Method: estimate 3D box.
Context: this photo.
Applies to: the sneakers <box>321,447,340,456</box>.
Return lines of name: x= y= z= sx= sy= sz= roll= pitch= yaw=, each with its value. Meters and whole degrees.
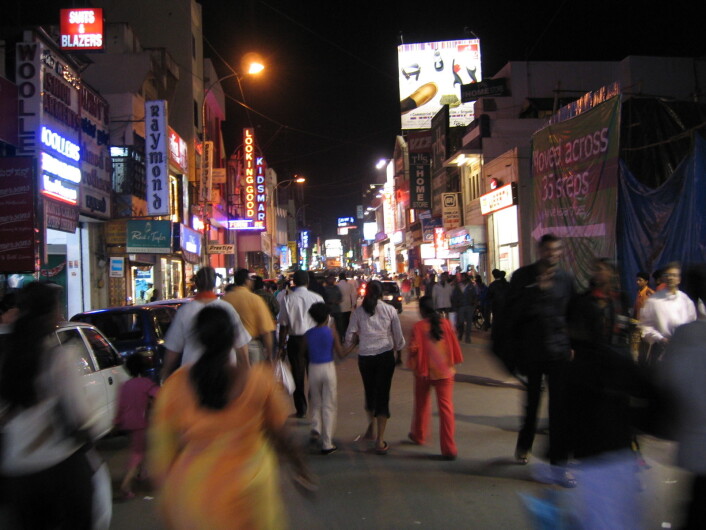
sneakers: x=-0.285 y=2.367 z=8.403 sx=0.200 sy=0.096 sz=0.074 roll=-6 pitch=6 yaw=-34

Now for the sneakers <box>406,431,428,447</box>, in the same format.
sneakers: x=0.827 y=2.315 z=8.705 sx=0.165 sy=0.137 sz=0.064 roll=25 pitch=5 yaw=31

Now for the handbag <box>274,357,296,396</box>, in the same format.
handbag: x=-0.992 y=1.640 z=9.735 sx=0.144 sy=0.542 sz=0.506 roll=-14 pitch=6 yaw=4

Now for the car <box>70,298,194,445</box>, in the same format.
car: x=-3.450 y=1.510 z=11.259 sx=1.353 sy=1.332 sz=2.589 roll=-1 pitch=2 yaw=15
